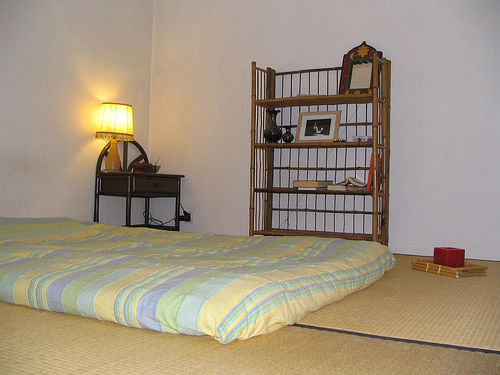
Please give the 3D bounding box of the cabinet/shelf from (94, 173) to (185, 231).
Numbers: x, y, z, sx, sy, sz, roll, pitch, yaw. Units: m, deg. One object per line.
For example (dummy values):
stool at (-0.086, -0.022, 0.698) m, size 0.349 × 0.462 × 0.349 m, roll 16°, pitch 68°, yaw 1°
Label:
cabinet/shelf at (-1.008, 0.207, 3.704) m, size 0.474 × 0.643 × 0.651 m, roll 2°, pitch 0°, yaw 33°

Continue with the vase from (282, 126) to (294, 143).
vase at (0.317, -0.451, 3.406) m, size 0.085 × 0.139 × 0.132 m, roll 1°, pitch 9°, yaw -2°

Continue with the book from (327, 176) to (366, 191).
book at (0.741, -0.022, 3.111) m, size 0.290 × 0.109 × 0.116 m, roll 5°, pitch 9°, yaw 21°

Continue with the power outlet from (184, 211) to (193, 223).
power outlet at (-0.605, 0.293, 3.994) m, size 0.088 × 0.100 × 0.028 m, roll 2°, pitch -1°, yaw 8°

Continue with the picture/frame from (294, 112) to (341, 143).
picture/frame at (0.563, -0.494, 3.326) m, size 0.306 × 0.238 × 0.013 m, roll -5°, pitch -30°, yaw 32°

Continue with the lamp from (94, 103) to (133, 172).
lamp at (-1.193, -0.452, 3.604) m, size 0.269 × 0.594 × 0.362 m, roll 10°, pitch 12°, yaw 43°

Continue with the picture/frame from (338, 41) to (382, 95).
picture/frame at (0.881, -0.944, 3.244) m, size 0.288 × 0.042 × 0.491 m, roll -3°, pitch -40°, yaw 5°

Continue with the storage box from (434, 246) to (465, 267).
storage box at (1.064, 0.370, 2.172) m, size 0.095 × 0.103 × 0.134 m, roll 2°, pitch -3°, yaw -20°

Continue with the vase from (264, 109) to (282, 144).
vase at (0.198, -0.519, 3.412) m, size 0.142 × 0.276 × 0.188 m, roll 3°, pitch 9°, yaw 11°

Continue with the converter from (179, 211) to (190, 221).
converter at (-0.638, 0.289, 3.978) m, size 0.104 × 0.080 × 0.036 m, roll 3°, pitch -41°, yaw 1°
